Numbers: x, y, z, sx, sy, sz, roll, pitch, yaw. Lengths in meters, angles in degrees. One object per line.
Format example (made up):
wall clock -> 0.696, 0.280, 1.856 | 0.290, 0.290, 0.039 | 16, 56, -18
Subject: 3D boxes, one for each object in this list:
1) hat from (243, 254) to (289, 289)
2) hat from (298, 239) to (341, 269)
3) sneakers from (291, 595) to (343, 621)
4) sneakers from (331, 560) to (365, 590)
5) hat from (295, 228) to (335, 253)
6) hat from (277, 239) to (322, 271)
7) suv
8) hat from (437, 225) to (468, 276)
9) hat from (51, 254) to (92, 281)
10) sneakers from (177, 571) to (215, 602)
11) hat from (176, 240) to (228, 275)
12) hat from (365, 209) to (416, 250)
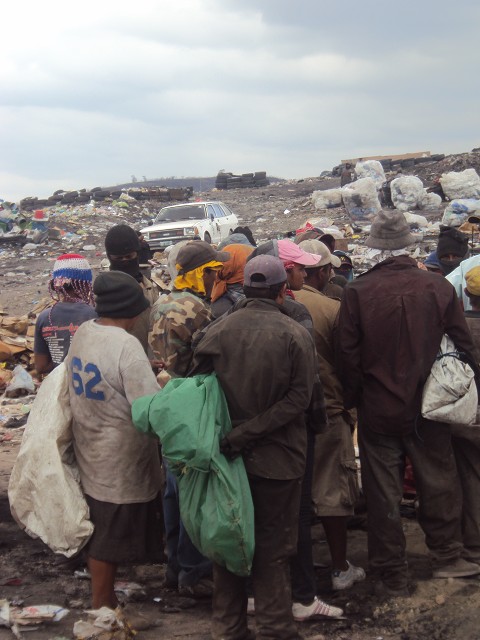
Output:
hat -> 0.103, -0.209, 2.627 | 0.130, 0.091, 0.179 | -1, 21, 8
hat -> 0.489, -0.389, 3.581 | 0.248, 0.138, 0.162 | -3, 16, -15
sneakers -> 0.366, 1.410, 2.978 | 0.308, 0.128, 0.098 | -1, -1, -7
sneakers -> 0.574, 1.328, 3.201 | 0.086, 0.103, 0.229 | 1, 14, 41
hat -> 0.671, -0.624, 5.070 | 0.289, 0.161, 0.427 | -25, 9, -15
hat -> 0.331, -0.332, 3.262 | 0.245, 0.090, 0.146 | 11, 26, -4
suv -> -1.137, -2.297, 15.268 | 1.901, 1.320, 3.362 | -13, 1, 24
hat -> 1.884, -0.632, 5.379 | 0.349, 0.415, 0.176 | 12, -3, 21
hat -> -1.012, -0.306, 3.641 | 0.203, 0.143, 0.191 | -2, 6, -7
sneakers -> -0.235, 1.396, 3.159 | 0.223, 0.109, 0.102 | 6, -11, -18
hat -> -0.248, -0.368, 3.599 | 0.286, 0.162, 0.167 | -20, 27, -9
hat -> 0.975, -0.551, 3.816 | 0.362, 0.206, 0.322 | 11, 15, 31
